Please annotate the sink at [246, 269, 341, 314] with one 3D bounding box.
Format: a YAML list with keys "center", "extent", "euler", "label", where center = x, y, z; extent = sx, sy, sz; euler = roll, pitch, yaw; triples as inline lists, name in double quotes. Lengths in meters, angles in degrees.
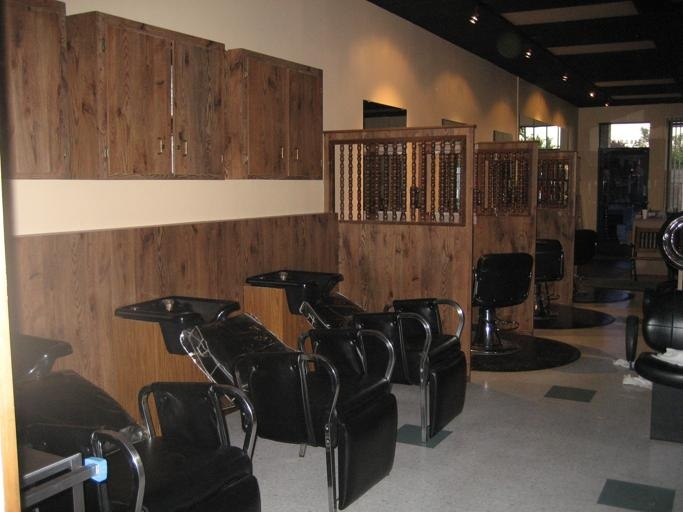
- center: [-0.375, 0.357, 4.730]
  extent: [0.797, 0.305, 0.747]
  euler: [1, -2, 35]
  label: "sink"

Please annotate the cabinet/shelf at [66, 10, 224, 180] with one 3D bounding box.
- center: [-1.340, -1.067, 3.998]
  extent: [0.377, 1.028, 1.170]
  euler: [9, 13, 29]
  label: "cabinet/shelf"

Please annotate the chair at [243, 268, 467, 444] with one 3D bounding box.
- center: [0.180, 0.696, 4.527]
  extent: [1.658, 1.232, 0.994]
  euler: [0, 3, 27]
  label: "chair"

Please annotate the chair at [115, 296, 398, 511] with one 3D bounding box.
- center: [-0.447, 0.744, 3.526]
  extent: [1.576, 1.069, 0.996]
  euler: [-1, 2, 24]
  label: "chair"

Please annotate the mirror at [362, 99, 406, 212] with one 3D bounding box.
- center: [0.419, -0.978, 5.333]
  extent: [0.462, 1.213, 0.090]
  euler: [-8, 33, -7]
  label: "mirror"
